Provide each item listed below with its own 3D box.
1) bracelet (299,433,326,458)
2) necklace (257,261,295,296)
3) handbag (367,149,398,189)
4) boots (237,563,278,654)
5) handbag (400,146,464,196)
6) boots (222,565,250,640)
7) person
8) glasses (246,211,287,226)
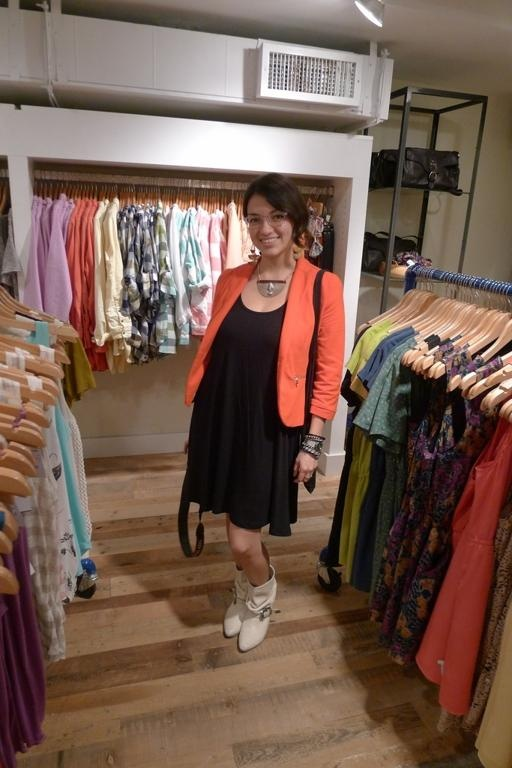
[{"bbox_3d":[0.188,0.196,1.667,0.079,0.076,0.066,22,-5,-11],"label":"bracelet"},{"bbox_3d":[0.061,-0.325,1.625,0.102,0.029,0.152,2,62,8],"label":"necklace"},{"bbox_3d":[0.800,-1.353,3.351,0.220,0.284,0.237,5,22,11],"label":"handbag"},{"bbox_3d":[0.021,0.791,1.891,0.090,0.141,0.307,4,40,8],"label":"boots"},{"bbox_3d":[1.075,-1.332,3.269,0.420,0.229,0.086,-4,13,-25],"label":"handbag"},{"bbox_3d":[-0.072,0.799,1.953,0.073,0.179,0.240,3,27,7],"label":"boots"},{"bbox_3d":[0.001,0.146,1.741,0.529,1.575,0.306,9,14,30],"label":"person"},{"bbox_3d":[0.028,-0.485,1.550,0.056,0.022,0.061,1,4,14],"label":"glasses"}]
